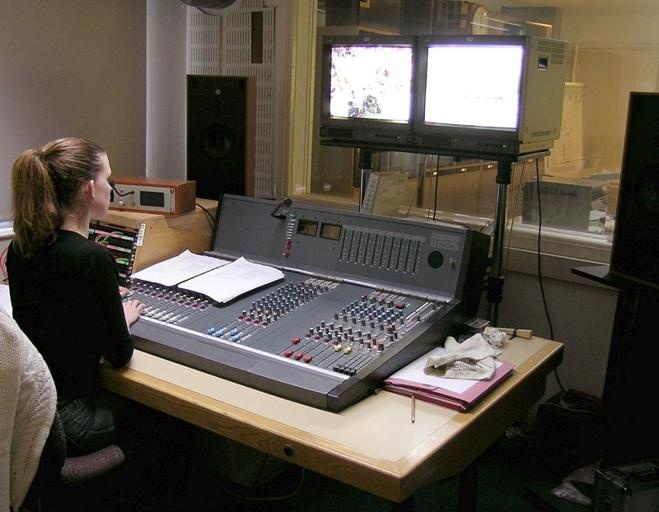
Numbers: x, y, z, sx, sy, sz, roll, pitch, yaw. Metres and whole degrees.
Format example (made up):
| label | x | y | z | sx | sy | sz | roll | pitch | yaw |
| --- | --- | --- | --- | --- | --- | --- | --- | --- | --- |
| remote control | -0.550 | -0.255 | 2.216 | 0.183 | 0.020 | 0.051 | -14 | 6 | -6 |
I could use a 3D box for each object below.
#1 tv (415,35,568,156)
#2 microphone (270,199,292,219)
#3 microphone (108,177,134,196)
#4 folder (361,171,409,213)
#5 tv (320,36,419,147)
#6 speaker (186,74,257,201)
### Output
| label | x | y | z | sx | sy | sz | roll | pitch | yaw |
| --- | --- | --- | --- | --- | --- | --- | --- | --- | --- |
| tv | 0.683 | -0.666 | 2.388 | 0.735 | 0.620 | 0.509 | 8 | 11 | 30 |
| microphone | -0.215 | -0.212 | 2.358 | 0.070 | 0.103 | 0.044 | 33 | 11 | 9 |
| microphone | -1.021 | -0.324 | 2.518 | 0.077 | 0.109 | 0.051 | 15 | -4 | -18 |
| folder | 0.268 | -0.287 | 2.481 | 0.087 | 0.214 | 0.230 | 13 | 9 | 33 |
| tv | 0.204 | -0.776 | 2.414 | 0.482 | 0.455 | 0.274 | 9 | 17 | 26 |
| speaker | -0.610 | -0.658 | 2.912 | 0.438 | 0.670 | 0.117 | 8 | 15 | 23 |
